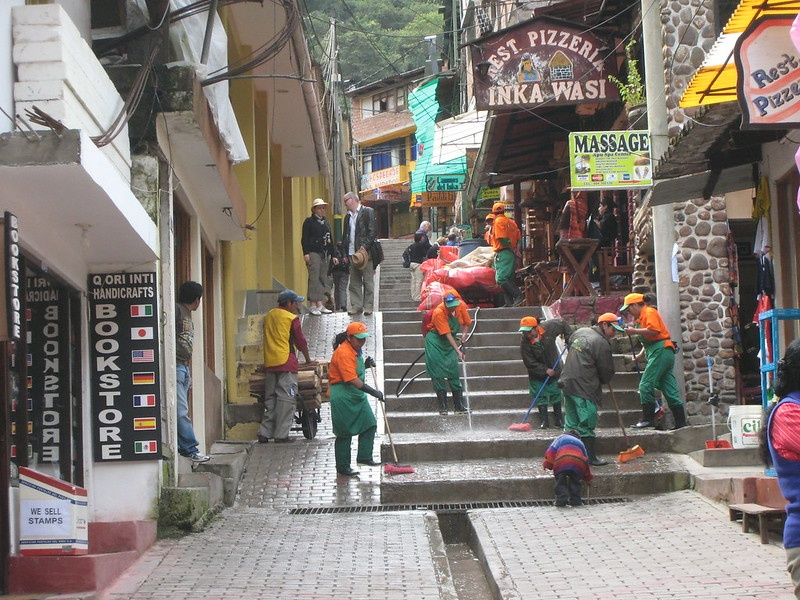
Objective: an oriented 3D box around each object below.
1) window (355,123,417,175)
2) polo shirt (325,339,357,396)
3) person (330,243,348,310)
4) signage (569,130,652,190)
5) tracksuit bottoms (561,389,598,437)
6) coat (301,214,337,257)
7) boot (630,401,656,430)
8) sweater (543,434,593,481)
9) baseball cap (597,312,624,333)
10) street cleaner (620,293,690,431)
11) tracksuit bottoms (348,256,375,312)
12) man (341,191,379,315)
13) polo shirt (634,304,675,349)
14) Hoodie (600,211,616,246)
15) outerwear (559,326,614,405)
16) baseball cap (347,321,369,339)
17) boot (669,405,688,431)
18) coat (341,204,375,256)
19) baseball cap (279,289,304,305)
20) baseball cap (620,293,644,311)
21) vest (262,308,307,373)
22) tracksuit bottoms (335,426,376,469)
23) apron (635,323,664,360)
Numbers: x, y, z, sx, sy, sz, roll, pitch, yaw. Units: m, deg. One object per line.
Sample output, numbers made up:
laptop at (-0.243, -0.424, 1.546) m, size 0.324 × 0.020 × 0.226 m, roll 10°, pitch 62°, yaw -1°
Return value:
window at (-0.542, -6.999, 55.160) m, size 0.397 × 2.235 × 4.492 m, roll 13°, pitch 24°, yaw 37°
polo shirt at (-0.722, 0.857, 14.173) m, size 0.357 × 0.697 × 0.694 m, roll 2°, pitch 5°, yaw -4°
person at (-1.073, -0.458, 20.440) m, size 0.403 × 1.302 × 0.344 m, roll 5°, pitch 3°, yaw 10°
signage at (2.916, -1.923, 15.444) m, size 0.796 × 0.587 × 0.112 m, roll -1°, pitch 1°, yaw 1°
tracksuit bottoms at (2.222, 1.422, 13.798) m, size 0.400 × 0.552 × 0.241 m, roll -6°, pitch -6°, yaw 19°
coat at (-1.441, -1.145, 19.493) m, size 0.435 × 0.727 × 0.709 m, roll -2°, pitch -1°, yaw 41°
boot at (3.333, 1.561, 15.108) m, size 0.450 × 0.456 × 0.210 m, roll 2°, pitch 0°, yaw 3°
sweater at (1.924, 1.762, 12.770) m, size 0.507 × 0.506 × 0.275 m, roll 7°, pitch -21°, yaw 5°
baseball cap at (2.763, 0.300, 14.671) m, size 0.290 × 0.163 × 0.188 m, roll 27°, pitch -7°, yaw -15°
street cleaner at (3.537, 0.880, 15.404) m, size 0.935 × 1.991 × 0.841 m, roll -3°, pitch -34°, yaw 14°
tracksuit bottoms at (-0.658, -0.341, 19.181) m, size 0.402 × 1.244 × 0.312 m, roll -2°, pitch 24°, yaw -8°
man at (-0.721, -0.797, 19.463) m, size 0.732 × 2.087 × 0.726 m, roll -4°, pitch -2°, yaw 35°
polo shirt at (3.390, 0.387, 15.082) m, size 0.385 × 0.628 × 0.619 m, roll -10°, pitch -15°, yaw 1°
Hoodie at (4.017, -1.361, 21.515) m, size 0.218 × 0.635 × 0.464 m, roll -5°, pitch -10°, yaw 13°
outerwear at (2.302, 0.821, 13.843) m, size 0.617 × 0.888 × 0.285 m, roll -2°, pitch -6°, yaw -24°
baseball cap at (-0.527, 0.371, 13.978) m, size 0.256 × 0.139 × 0.173 m, roll 6°, pitch 8°, yaw 35°
boot at (3.710, 1.548, 14.890) m, size 0.198 × 0.305 × 0.408 m, roll -5°, pitch -6°, yaw 12°
coat at (-0.761, -1.225, 19.720) m, size 0.615 × 0.848 × 0.439 m, roll 5°, pitch 15°, yaw 19°
baseball cap at (-1.475, -0.036, 15.298) m, size 0.305 × 0.165 × 0.200 m, roll -2°, pitch 7°, yaw -19°
baseball cap at (3.154, -0.002, 15.218) m, size 0.294 × 0.160 × 0.191 m, roll -23°, pitch -1°, yaw 15°
vest at (-1.575, 0.565, 15.147) m, size 0.776 × 0.991 × 0.555 m, roll -2°, pitch -5°, yaw 22°
tracksuit bottoms at (-0.564, 1.839, 14.021) m, size 0.514 × 0.665 × 0.236 m, roll -4°, pitch 6°, yaw -39°
apron at (3.387, 0.649, 15.037) m, size 0.391 × 0.481 × 0.596 m, roll -4°, pitch -10°, yaw 15°
